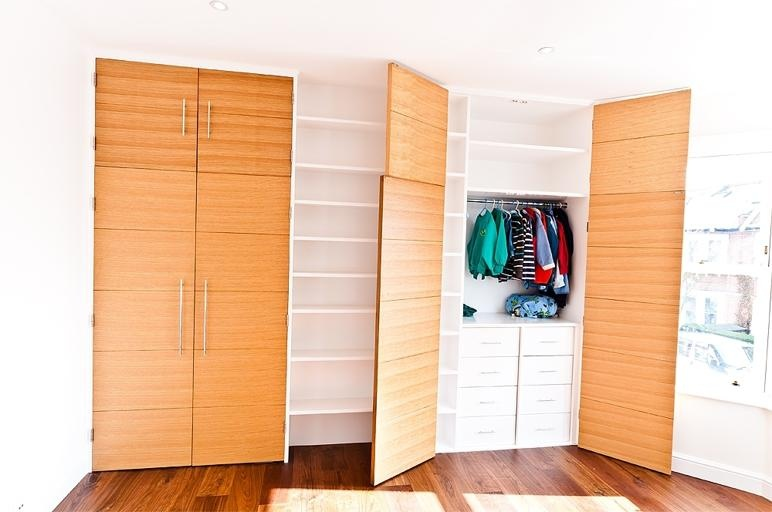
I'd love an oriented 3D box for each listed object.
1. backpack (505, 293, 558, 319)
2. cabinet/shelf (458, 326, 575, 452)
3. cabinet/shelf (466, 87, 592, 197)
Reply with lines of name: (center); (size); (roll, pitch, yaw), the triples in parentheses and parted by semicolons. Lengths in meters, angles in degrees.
backpack: (1.455, 0.487, 5.443); (0.454, 0.218, 0.341); (0, 2, -13)
cabinet/shelf: (1.139, 1.191, 5.033); (1.494, 1.110, 0.463); (0, 1, -7)
cabinet/shelf: (1.319, -0.984, 5.255); (1.127, 0.864, 0.631); (0, 3, 0)
